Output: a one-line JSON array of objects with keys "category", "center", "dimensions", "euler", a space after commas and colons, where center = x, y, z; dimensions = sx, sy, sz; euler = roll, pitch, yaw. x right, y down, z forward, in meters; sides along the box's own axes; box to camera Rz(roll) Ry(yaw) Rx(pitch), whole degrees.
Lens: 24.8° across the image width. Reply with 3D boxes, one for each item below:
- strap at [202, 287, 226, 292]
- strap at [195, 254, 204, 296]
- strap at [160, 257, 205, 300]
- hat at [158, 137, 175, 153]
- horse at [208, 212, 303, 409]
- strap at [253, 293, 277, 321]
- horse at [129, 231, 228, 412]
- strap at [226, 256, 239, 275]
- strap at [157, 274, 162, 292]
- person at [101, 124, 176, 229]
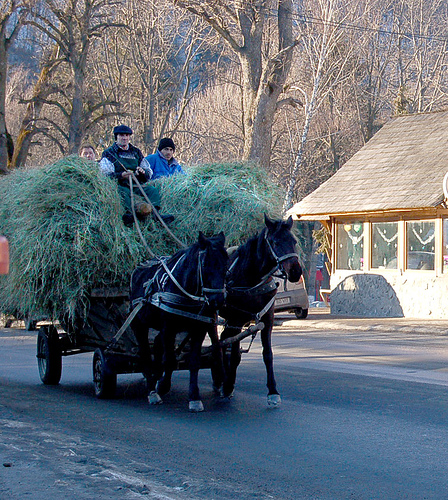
[{"category": "strap", "center": [-0.129, 0.404, 10.222], "dimensions": [0.274, 0.050, 0.124], "euler": [-1, -5, 37]}, {"category": "strap", "center": [-0.246, 0.263, 10.393], "dimensions": [0.035, 0.419, 0.284], "euler": [3, -3, -11]}, {"category": "strap", "center": [-0.447, 0.297, 10.767], "dimensions": [0.349, 0.428, 0.381], "euler": [-4, 8, -37]}, {"category": "hat", "center": [-0.800, -1.452, 14.220], "dimensions": [0.171, 0.182, 0.187], "euler": [3, -11, -43]}, {"category": "horse", "center": [0.178, 0.759, 11.569], "dimensions": [0.668, 1.976, 2.718], "euler": [1, -5, -22]}, {"category": "strap", "center": [0.437, 0.633, 11.049], "dimensions": [0.066, 0.216, 0.156], "euler": [34, -19, -11]}, {"category": "horse", "center": [-0.556, 0.875, 11.201], "dimensions": [0.619, 1.811, 2.637], "euler": [0, -5, -24]}, {"category": "strap", "center": [0.097, 0.180, 10.995], "dimensions": [0.026, 0.209, 0.026], "euler": [32, 2, -37]}, {"category": "strap", "center": [-0.695, 0.380, 10.940], "dimensions": [0.020, 0.163, 0.021], "euler": [-11, -37, -8]}, {"category": "person", "center": [-1.098, -0.914, 12.721], "dimensions": [0.888, 1.426, 1.457], "euler": [3, -3, -10]}]
